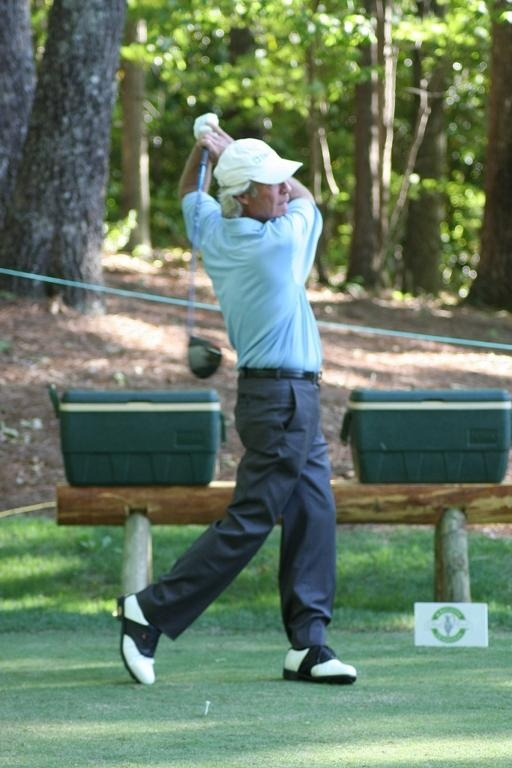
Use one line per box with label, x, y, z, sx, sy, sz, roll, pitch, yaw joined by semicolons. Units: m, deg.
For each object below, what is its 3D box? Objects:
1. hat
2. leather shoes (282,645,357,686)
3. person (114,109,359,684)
hat;-0.010;-0.794;6.159;0.247;0.124;0.179;-2;15;10
leather shoes;0.205;0.996;6.080;0.287;0.126;0.111;-9;-15;36
person;-0.069;0.062;6.229;0.774;1.952;0.708;-2;6;-2
